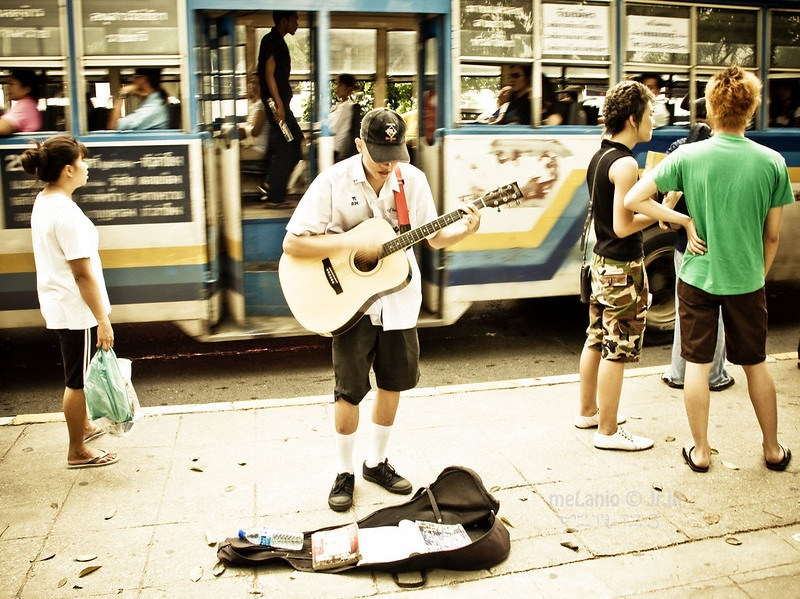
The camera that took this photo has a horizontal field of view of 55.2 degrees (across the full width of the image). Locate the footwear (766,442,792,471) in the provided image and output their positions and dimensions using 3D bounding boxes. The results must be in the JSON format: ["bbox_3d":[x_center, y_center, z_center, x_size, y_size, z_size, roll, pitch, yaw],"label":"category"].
[{"bbox_3d":[2.622,1.095,5.280,0.095,0.100,0.261,3,26,40],"label":"footwear"}]

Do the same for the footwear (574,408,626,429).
[{"bbox_3d":[1.521,0.924,5.887,0.432,0.149,0.143,-7,29,1],"label":"footwear"}]

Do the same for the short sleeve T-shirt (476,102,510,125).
[{"bbox_3d":[0.866,-1.728,7.139,0.298,0.174,0.072,-33,-19,3],"label":"short sleeve T-shirt"}]

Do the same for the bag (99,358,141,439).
[{"bbox_3d":[-1.985,0.695,5.335,0.131,0.543,0.335,3,12,43],"label":"bag"}]

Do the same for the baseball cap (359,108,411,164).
[{"bbox_3d":[-0.097,-0.995,4.601,0.269,0.308,0.207,-3,16,-3],"label":"baseball cap"}]

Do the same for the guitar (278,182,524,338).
[{"bbox_3d":[0.010,-0.113,5.156,0.803,0.256,1.918,-34,13,40],"label":"guitar"}]

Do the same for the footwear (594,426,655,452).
[{"bbox_3d":[1.598,1.022,5.488,0.413,0.157,0.165,-2,14,-3],"label":"footwear"}]

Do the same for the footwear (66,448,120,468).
[{"bbox_3d":[-2.154,1.130,5.395,0.254,0.060,0.140,-3,13,-11],"label":"footwear"}]

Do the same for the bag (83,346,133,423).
[{"bbox_3d":[-1.997,0.581,5.222,0.306,0.501,0.276,-8,17,-20],"label":"bag"}]

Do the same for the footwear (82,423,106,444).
[{"bbox_3d":[-2.333,1.018,5.809,0.087,0.101,0.234,-3,1,33],"label":"footwear"}]

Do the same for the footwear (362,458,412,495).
[{"bbox_3d":[-0.087,1.158,5.181,0.408,0.170,0.140,14,23,35],"label":"footwear"}]

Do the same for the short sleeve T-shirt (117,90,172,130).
[{"bbox_3d":[-2.177,-1.710,6.636,0.397,0.297,0.413,11,28,4],"label":"short sleeve T-shirt"}]

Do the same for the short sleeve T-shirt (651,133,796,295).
[{"bbox_3d":[2.113,-0.567,5.035,0.840,1.028,0.303,3,17,17],"label":"short sleeve T-shirt"}]

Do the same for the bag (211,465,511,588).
[{"bbox_3d":[-0.186,1.366,4.455,1.519,0.352,0.698,-3,14,-9],"label":"bag"}]

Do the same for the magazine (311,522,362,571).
[{"bbox_3d":[-0.375,1.459,4.459,0.221,0.057,0.218,-8,34,-2],"label":"magazine"}]

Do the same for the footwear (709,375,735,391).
[{"bbox_3d":[2.713,0.708,6.459,0.258,0.091,0.106,-12,-1,-20],"label":"footwear"}]

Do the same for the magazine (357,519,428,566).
[{"bbox_3d":[-0.046,1.417,4.444,0.402,0.146,0.225,-1,16,2],"label":"magazine"}]

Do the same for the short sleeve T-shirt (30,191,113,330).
[{"bbox_3d":[-2.338,-0.318,5.430,0.583,1.092,0.972,-7,14,-34],"label":"short sleeve T-shirt"}]
